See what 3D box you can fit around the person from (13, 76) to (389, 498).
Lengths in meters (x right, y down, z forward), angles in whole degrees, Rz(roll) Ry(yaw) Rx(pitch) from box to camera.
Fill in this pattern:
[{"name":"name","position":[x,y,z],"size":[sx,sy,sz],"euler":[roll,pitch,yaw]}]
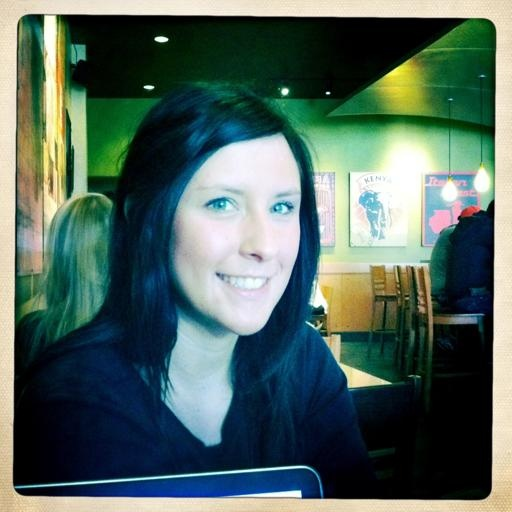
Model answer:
[{"name":"person","position":[-0.204,0.083,1.766],"size":[1.150,1.489,0.709],"euler":[0,-3,-30]}]

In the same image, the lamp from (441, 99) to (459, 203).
[{"name":"lamp","position":[0.632,-0.347,1.787],"size":[0.048,0.344,0.035],"euler":[0,2,13]}]
